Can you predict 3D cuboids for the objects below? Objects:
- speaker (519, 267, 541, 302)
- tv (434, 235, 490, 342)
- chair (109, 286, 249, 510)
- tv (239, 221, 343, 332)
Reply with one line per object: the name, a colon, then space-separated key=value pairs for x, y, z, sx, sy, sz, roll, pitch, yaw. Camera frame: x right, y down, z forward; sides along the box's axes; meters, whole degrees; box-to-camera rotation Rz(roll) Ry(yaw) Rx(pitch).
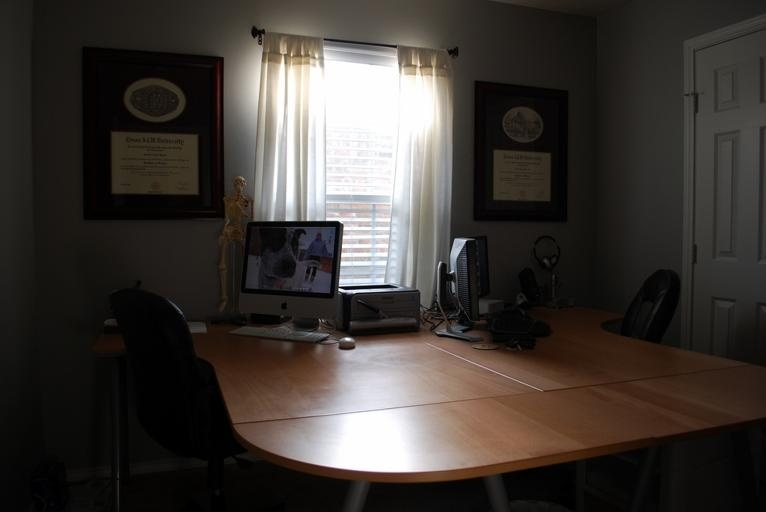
speaker: x=1.135 y=0.236 z=4.279 sx=0.145 sy=0.272 sz=0.062 roll=-15 pitch=-7 yaw=-4
tv: x=0.508 y=0.230 z=3.542 sx=0.254 sy=0.572 sz=0.549 roll=-2 pitch=7 yaw=-8
chair: x=-1.072 y=0.656 z=3.287 sx=0.989 sy=1.206 sz=0.901 roll=0 pitch=3 yaw=-36
tv: x=-0.551 y=0.126 z=3.415 sx=0.583 sy=0.572 sz=0.216 roll=3 pitch=-7 yaw=12
